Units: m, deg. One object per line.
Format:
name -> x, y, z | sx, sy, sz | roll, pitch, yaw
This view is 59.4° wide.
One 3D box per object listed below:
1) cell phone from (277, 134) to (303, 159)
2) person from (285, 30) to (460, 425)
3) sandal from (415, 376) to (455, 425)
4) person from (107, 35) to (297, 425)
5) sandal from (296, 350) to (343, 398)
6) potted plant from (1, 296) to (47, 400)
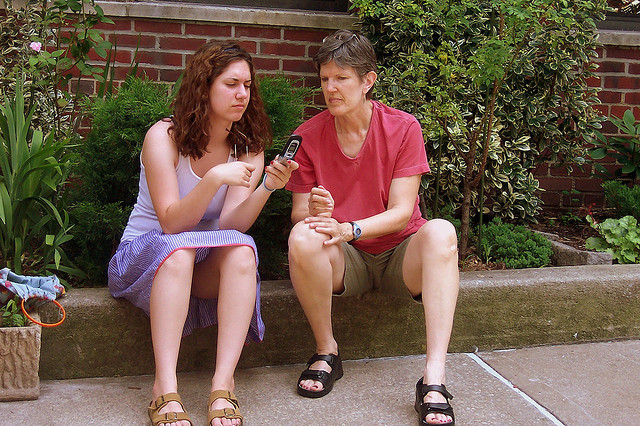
cell phone -> -0.162, -0.351, 2.978 | 0.107, 0.132, 0.075 | 2, 8, -22
person -> 0.283, 0.005, 3.089 | 1.053, 2.004, 0.683 | 6, 8, 15
sandal -> 0.591, 0.970, 2.864 | 0.197, 0.195, 0.195 | 5, 7, 7
person -> -0.590, 0.047, 2.938 | 0.883, 1.931, 0.802 | 2, 8, -20
sandal -> 0.010, 0.883, 3.164 | 0.169, 0.186, 0.428 | -1, 3, 21
potted plant -> -1.584, 0.703, 2.976 | 0.212, 0.507, 0.217 | 2, 8, -17
